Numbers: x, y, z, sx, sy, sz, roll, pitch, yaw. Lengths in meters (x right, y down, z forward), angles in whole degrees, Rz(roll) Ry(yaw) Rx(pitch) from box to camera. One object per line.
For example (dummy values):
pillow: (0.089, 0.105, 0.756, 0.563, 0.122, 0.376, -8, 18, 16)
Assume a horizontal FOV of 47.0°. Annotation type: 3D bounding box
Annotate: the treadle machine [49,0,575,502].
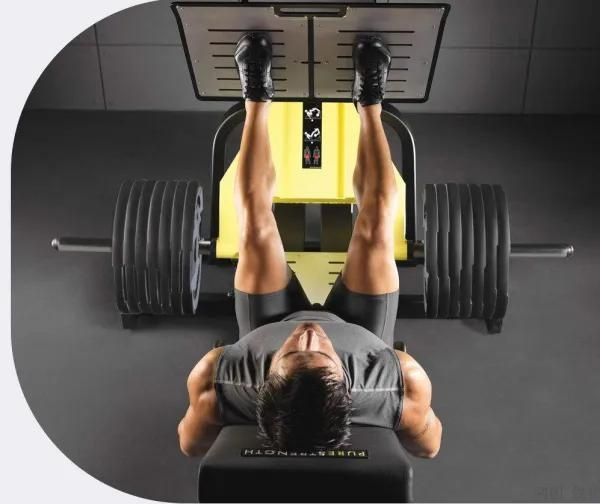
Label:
treadle machine: (0.088, 0.042, 3.414, 2.413, 1.201, 1.976, 0, 71, 0)
